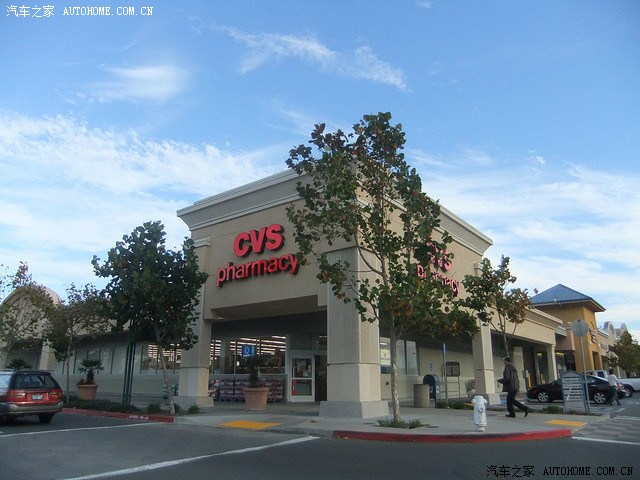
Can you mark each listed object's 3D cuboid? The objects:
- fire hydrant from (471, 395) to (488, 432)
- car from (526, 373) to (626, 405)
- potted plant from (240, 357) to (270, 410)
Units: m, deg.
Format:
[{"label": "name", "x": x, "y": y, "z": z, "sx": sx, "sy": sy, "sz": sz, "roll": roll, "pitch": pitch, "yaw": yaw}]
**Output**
[{"label": "fire hydrant", "x": 4.728, "y": 5.164, "z": 13.240, "sx": 0.314, "sy": 0.996, "sz": 0.730, "roll": -4, "pitch": -18, "yaw": 12}, {"label": "car", "x": 14.503, "y": 8.821, "z": 26.156, "sx": 4.008, "sy": 1.440, "sz": 1.977, "roll": -5, "pitch": -21, "yaw": 26}, {"label": "potted plant", "x": -2.865, "y": 6.362, "z": 19.839, "sx": 1.153, "sy": 2.246, "sz": 1.075, "roll": -17, "pitch": -24, "yaw": 40}]
